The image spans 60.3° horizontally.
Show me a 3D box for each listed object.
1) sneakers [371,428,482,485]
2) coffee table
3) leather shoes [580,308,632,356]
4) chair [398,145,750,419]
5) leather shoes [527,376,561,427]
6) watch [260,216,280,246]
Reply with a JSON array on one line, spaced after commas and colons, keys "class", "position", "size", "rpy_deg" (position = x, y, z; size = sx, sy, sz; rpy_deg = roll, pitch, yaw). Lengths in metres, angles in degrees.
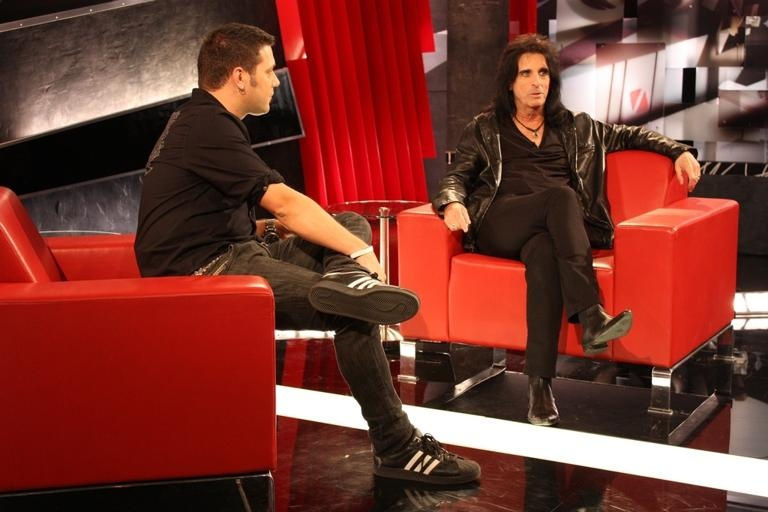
[{"class": "sneakers", "position": [0.166, 0.802, 2.640], "size": [0.448, 0.189, 0.170], "rpy_deg": [1, 4, 5]}, {"class": "coffee table", "position": [-0.001, 0.092, 4.077], "size": [0.849, 0.989, 0.816], "rpy_deg": [0, 13, 2]}, {"class": "leather shoes", "position": [0.973, 0.332, 2.893], "size": [0.214, 0.154, 0.087], "rpy_deg": [-36, -46, 27]}, {"class": "chair", "position": [1.070, 0.014, 3.750], "size": [1.208, 1.078, 1.634], "rpy_deg": [-14, 13, -43]}, {"class": "leather shoes", "position": [0.723, 0.641, 2.992], "size": [0.113, 0.231, 0.254], "rpy_deg": [-8, 4, 17]}, {"class": "watch", "position": [-0.489, -0.103, 2.880], "size": [0.097, 0.091, 0.089], "rpy_deg": [-3, 13, -7]}]
